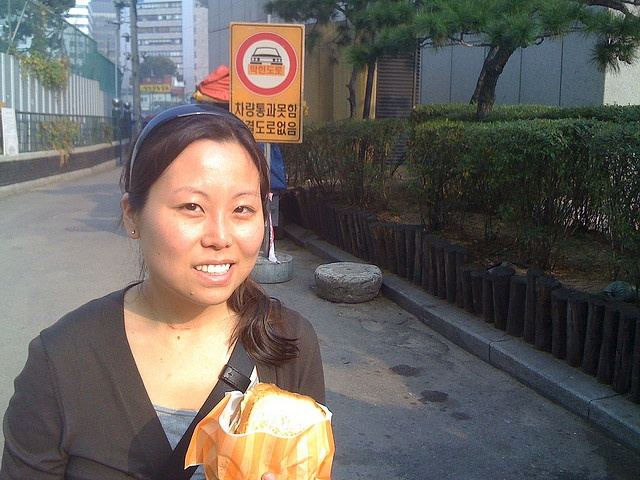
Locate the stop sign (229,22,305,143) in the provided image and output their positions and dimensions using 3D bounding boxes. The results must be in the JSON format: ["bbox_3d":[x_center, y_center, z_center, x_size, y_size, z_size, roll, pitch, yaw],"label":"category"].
[{"bbox_3d":[-0.774,-2.236,7.883,1.077,1.988,0.028,0,-18,-5],"label":"stop sign"}]

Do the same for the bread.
[{"bbox_3d":[-0.102,0.435,1.400,0.250,0.086,0.094,4,10,1],"label":"bread"}]
